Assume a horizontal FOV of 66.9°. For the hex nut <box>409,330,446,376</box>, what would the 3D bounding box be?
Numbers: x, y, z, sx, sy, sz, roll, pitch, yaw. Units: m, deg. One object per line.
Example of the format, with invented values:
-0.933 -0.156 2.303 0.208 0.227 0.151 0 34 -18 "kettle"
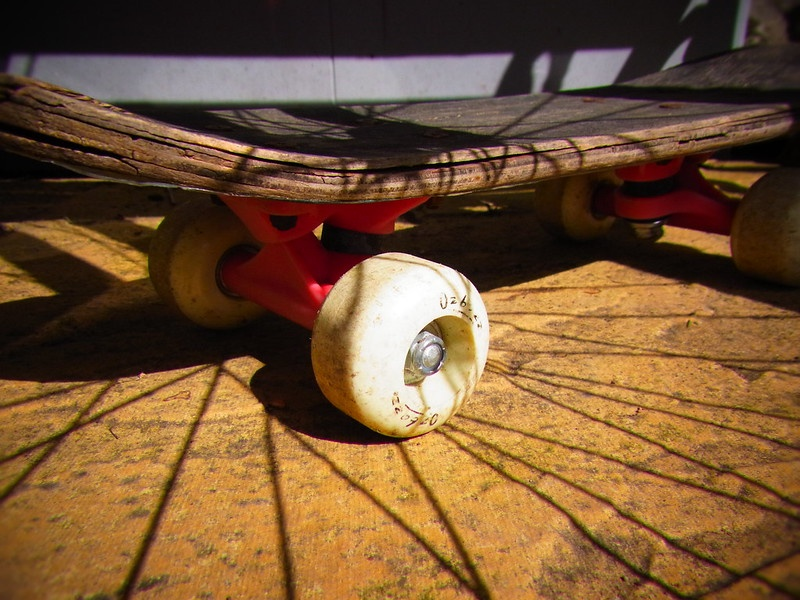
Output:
0.093 0.186 1.980 0.122 0.142 0.139 20 60 5 "hex nut"
